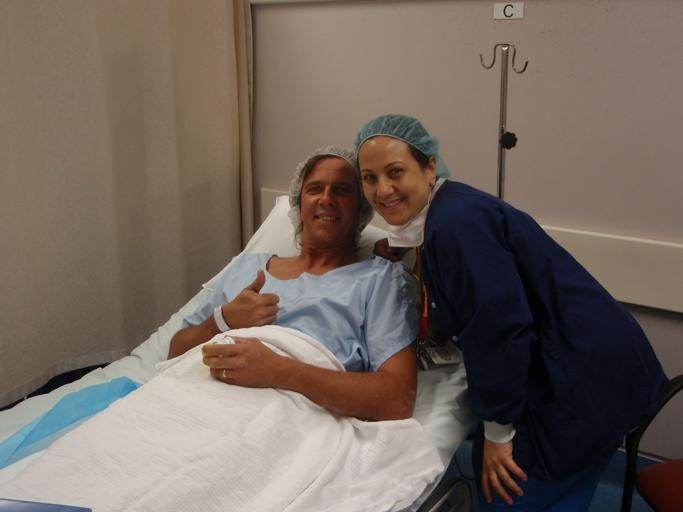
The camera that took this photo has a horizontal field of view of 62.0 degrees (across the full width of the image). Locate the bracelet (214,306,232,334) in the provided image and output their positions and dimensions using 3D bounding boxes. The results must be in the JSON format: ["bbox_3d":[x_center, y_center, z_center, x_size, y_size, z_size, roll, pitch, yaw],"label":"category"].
[{"bbox_3d":[-0.454,0.244,2.178,0.032,0.090,0.071,-6,-12,12],"label":"bracelet"}]

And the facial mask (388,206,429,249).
[{"bbox_3d":[0.241,-0.108,2.070,0.106,0.160,0.106,15,9,27],"label":"facial mask"}]

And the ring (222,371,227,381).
[{"bbox_3d":[-0.394,0.407,1.909,0.018,0.027,0.008,-10,-7,44],"label":"ring"}]
